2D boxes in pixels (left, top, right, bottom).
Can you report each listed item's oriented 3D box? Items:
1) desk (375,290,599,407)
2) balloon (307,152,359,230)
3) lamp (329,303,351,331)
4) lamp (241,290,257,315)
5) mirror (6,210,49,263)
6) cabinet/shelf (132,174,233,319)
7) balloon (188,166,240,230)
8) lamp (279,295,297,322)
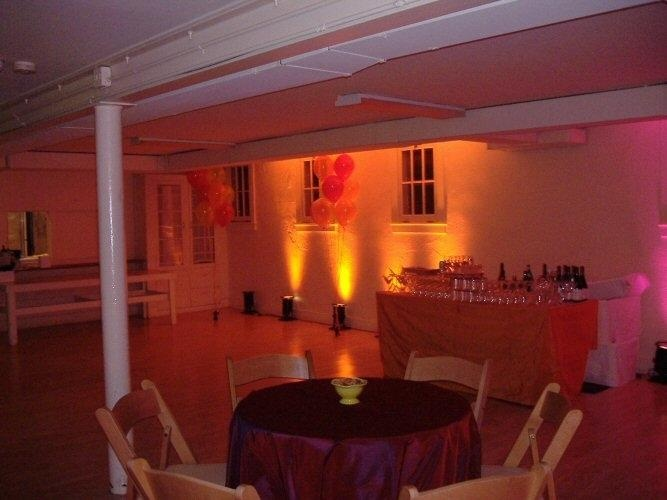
[{"bbox_3d":[1.759,0.970,6.594,2.203,1.045,1.283,4,14,27],"label":"desk"},{"bbox_3d":[0.016,-1.082,9.026,0.713,1.337,1.126,-2,2,-21],"label":"balloon"},{"bbox_3d":[0.109,1.309,9.866,0.430,0.605,0.434,0,-1,-19],"label":"lamp"},{"bbox_3d":[-1.983,1.203,11.934,0.448,0.527,0.464,6,11,35],"label":"lamp"},{"bbox_3d":[-6.581,-0.343,10.826,0.763,0.976,0.149,-2,3,-36],"label":"mirror"},{"bbox_3d":[-3.724,-0.262,12.405,1.984,3.170,0.819,-4,11,-32],"label":"cabinet/shelf"},{"bbox_3d":[-2.376,-1.128,10.252,0.736,1.282,0.478,-10,13,22],"label":"balloon"},{"bbox_3d":[-0.991,1.266,11.077,0.436,0.611,0.446,2,2,3],"label":"lamp"}]
